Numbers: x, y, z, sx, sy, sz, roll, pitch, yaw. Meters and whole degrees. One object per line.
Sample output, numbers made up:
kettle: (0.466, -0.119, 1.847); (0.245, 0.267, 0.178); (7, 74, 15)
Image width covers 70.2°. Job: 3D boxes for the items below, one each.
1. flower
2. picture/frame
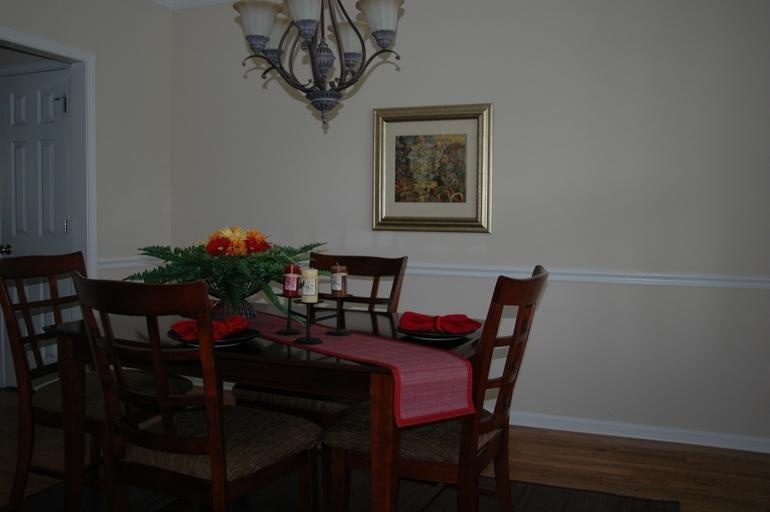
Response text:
flower: (-0.871, 0.050, 2.909); (0.647, 0.308, 0.659); (-1, 0, 17)
picture/frame: (0.398, -0.704, 4.277); (1.003, 1.050, 0.082); (0, 2, 11)
